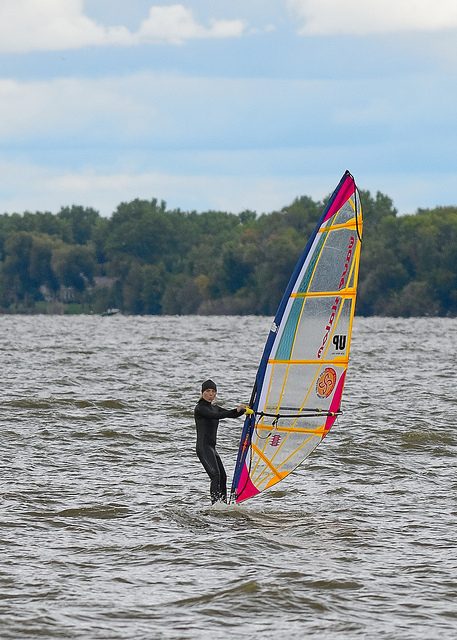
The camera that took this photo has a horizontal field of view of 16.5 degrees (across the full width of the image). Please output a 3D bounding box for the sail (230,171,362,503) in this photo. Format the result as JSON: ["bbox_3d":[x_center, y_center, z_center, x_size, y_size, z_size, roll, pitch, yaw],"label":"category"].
[{"bbox_3d":[0.982,0.229,19.290,1.434,4.145,0.485,1,5,5],"label":"sail"}]
